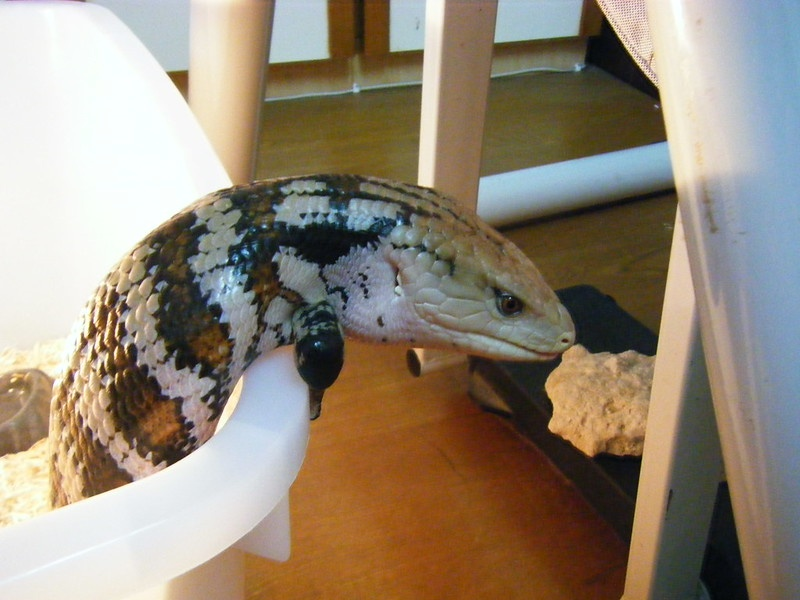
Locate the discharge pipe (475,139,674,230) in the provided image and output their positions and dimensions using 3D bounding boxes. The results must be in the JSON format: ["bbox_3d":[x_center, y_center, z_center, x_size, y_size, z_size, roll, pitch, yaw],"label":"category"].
[{"bbox_3d":[0.443,-0.278,1.910,0.493,0.138,0.096,-12,-4,2],"label":"discharge pipe"}]
